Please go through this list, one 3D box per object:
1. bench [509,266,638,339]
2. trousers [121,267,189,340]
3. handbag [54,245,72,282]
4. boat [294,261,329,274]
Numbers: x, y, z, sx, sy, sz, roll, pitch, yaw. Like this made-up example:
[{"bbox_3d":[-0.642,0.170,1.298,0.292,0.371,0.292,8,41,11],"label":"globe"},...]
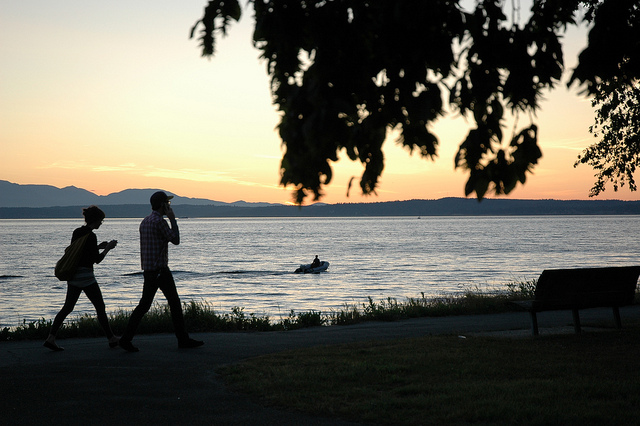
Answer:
[{"bbox_3d":[5.462,1.861,18.870,2.435,1.517,0.722,2,-4,-18],"label":"bench"},{"bbox_3d":[-3.250,1.796,17.855,1.241,1.402,0.873,2,-3,-13],"label":"trousers"},{"bbox_3d":[-5.055,0.987,17.787,0.307,0.662,0.394,2,-3,-17],"label":"handbag"},{"bbox_3d":[-0.257,3.901,63.276,1.660,0.657,0.945,0,-2,-37],"label":"boat"}]
